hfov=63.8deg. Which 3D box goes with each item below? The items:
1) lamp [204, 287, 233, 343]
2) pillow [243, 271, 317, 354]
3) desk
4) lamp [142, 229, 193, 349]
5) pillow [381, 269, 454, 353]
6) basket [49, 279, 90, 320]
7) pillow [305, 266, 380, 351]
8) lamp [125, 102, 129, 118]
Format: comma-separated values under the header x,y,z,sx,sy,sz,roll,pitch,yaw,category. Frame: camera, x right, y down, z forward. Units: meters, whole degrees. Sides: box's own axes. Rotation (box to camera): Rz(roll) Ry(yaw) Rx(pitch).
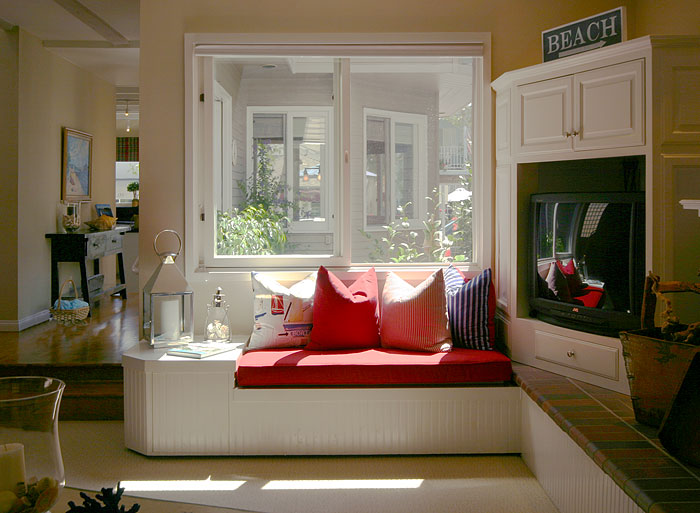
x,y,z,sx,sy,sz,roll,pitch,yaw,category
-0.959,0.431,4.088,0.167,0.403,0.164,0,-1,-43,lamp
-0.502,0.419,4.025,0.487,0.505,0.197,0,-8,-1,pillow
-3.113,0.179,6.639,0.316,0.645,1.001,0,4,-2,desk
-1.322,0.211,4.091,0.354,0.808,0.429,-2,5,-16,lamp
0.470,0.401,3.903,0.483,0.496,0.273,-2,-7,26,pillow
-3.052,0.476,6.106,0.390,0.423,0.234,4,-10,-36,basket
-0.054,0.392,3.956,0.505,0.523,0.221,1,-8,-14,pillow
-4.011,-2.625,10.143,0.049,0.041,1.168,-3,6,-21,lamp
